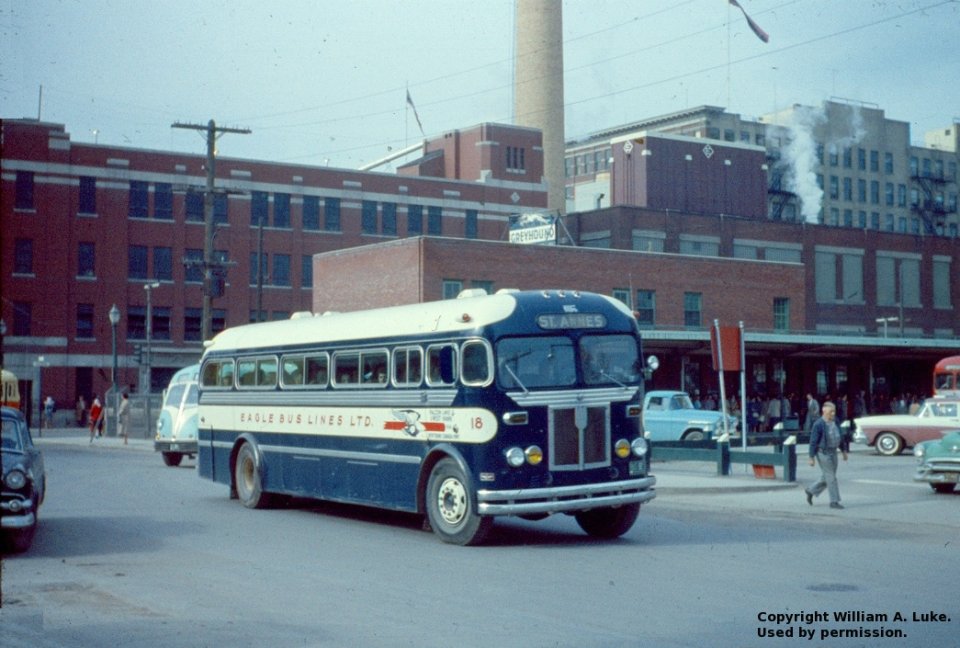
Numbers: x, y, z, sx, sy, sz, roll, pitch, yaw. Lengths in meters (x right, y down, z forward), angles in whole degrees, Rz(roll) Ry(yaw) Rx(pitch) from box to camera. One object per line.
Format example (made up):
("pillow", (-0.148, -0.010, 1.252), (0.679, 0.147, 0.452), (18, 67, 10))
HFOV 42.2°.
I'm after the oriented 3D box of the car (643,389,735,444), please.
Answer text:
("car", (6.980, 3.362, 42.671), (3.166, 1.600, 2.044), (-3, -2, 19))
